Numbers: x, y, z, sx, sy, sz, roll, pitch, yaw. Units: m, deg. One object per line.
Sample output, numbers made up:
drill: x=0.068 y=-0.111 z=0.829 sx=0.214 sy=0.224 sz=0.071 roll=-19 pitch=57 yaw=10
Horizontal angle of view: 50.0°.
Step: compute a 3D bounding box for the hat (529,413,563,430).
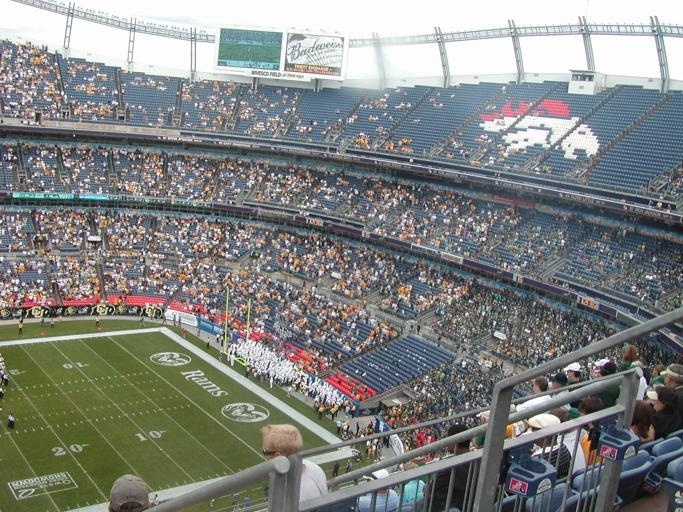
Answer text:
hat: x=4.244 y=3.545 z=15.347 sx=0.591 sy=0.393 sz=0.517 roll=5 pitch=9 yaw=-5
